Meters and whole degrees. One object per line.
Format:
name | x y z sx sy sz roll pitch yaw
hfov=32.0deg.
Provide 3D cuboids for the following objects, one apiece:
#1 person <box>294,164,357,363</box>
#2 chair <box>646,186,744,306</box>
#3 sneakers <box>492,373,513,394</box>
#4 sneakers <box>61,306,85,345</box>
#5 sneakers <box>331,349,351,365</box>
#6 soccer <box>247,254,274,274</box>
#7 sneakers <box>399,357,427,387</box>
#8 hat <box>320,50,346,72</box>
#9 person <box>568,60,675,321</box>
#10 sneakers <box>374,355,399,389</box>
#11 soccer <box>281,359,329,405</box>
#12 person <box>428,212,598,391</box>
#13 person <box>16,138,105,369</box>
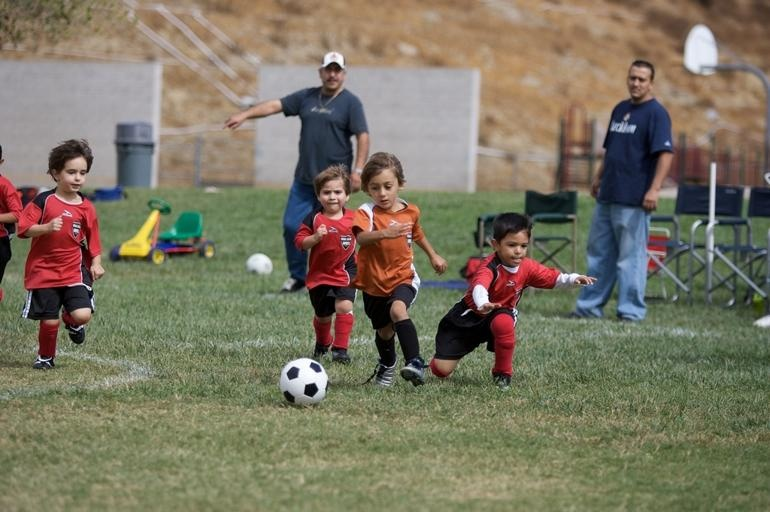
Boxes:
person | -0.424 0.066 10.105 0.538 1.498 0.551 1 2 -23
chair | 3.021 -0.134 12.918 0.785 1.065 0.796 5 7 23
sneakers | 0.851 0.927 9.722 0.115 0.085 0.117 11 -7 -20
sneakers | -2.295 0.532 10.079 0.115 0.305 0.132 -31 28 -29
sneakers | -0.321 0.770 10.172 0.076 0.078 0.168 2 -7 -20
soccer | -1.279 0.102 13.693 0.242 0.204 0.202 4 -41 -5
sneakers | 0.204 0.843 9.698 0.171 0.205 0.169 1 1 -1
hat | -0.420 -1.618 10.958 0.213 0.132 0.150 1 1 7
person | 2.101 -0.422 11.774 0.335 1.988 0.855 0 2 -45
sneakers | 0.014 0.861 9.773 0.236 0.286 0.637 1 -1 2
soccer | -0.523 0.896 9.409 0.325 0.315 0.318 4 -29 5
person | 0.842 0.317 9.743 0.995 1.271 0.467 1 1 1
person | -2.365 -0.014 9.829 0.613 1.692 0.361 1 2 -18
